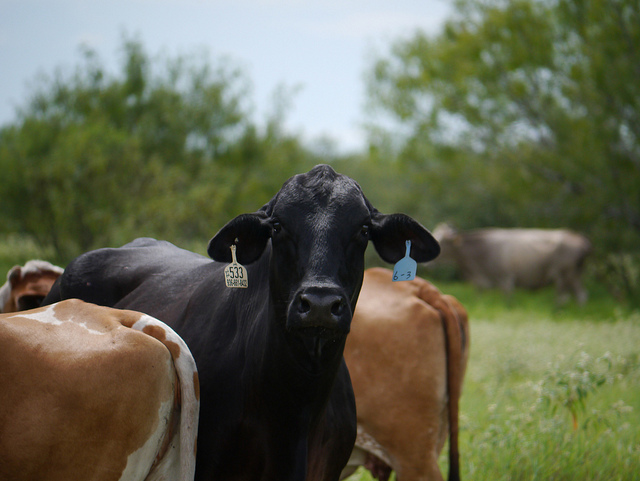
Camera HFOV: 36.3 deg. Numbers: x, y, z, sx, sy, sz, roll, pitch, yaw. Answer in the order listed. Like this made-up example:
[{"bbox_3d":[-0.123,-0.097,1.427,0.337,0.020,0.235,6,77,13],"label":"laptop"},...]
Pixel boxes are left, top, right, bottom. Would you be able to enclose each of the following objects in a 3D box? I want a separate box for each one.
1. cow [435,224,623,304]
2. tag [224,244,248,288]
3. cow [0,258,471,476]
[{"bbox_3d":[3.008,0.351,14.389,2.155,1.170,0.816,4,4,40],"label":"cow"},{"bbox_3d":[-0.684,0.216,7.807,0.179,0.413,0.053,1,34,5],"label":"tag"},{"bbox_3d":[-0.667,1.081,7.860,1.030,2.057,3.143,12,-3,-40],"label":"cow"}]
